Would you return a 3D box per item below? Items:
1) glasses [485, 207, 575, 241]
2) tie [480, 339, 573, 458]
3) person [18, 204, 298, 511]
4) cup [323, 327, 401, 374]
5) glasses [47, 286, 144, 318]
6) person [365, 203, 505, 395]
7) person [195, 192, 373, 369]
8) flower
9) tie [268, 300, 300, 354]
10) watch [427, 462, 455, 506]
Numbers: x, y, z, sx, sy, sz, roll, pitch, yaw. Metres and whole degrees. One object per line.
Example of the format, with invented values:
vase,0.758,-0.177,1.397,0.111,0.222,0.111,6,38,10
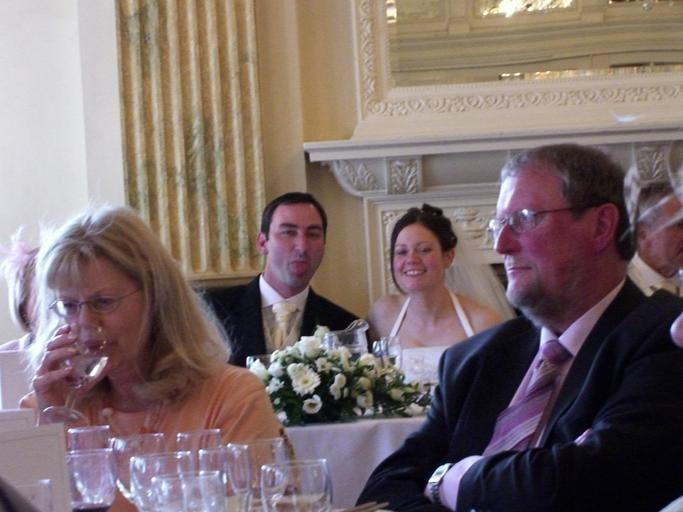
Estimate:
glasses,0.576,-0.100,2.429,0.148,0.045,0.141,-2,-11,-29
tie,0.561,0.450,2.386,0.130,0.066,0.456,-7,40,37
person,-0.623,0.218,2.455,0.806,0.756,0.346,-4,3,-7
cup,0.103,0.401,3.348,0.255,0.254,0.178,-4,0,39
glasses,-0.759,0.148,2.378,0.265,0.048,0.058,-4,3,-16
person,0.525,0.229,4.284,0.828,0.892,0.524,-9,-14,30
person,-0.340,0.189,4.900,1.246,1.103,0.609,5,-12,-17
flower,0.133,0.483,3.269,0.464,0.206,0.426,9,2,26
tie,-0.351,0.421,4.681,0.159,0.294,0.070,2,-2,3
watch,0.288,0.660,2.248,0.069,0.112,0.085,-5,3,-19
